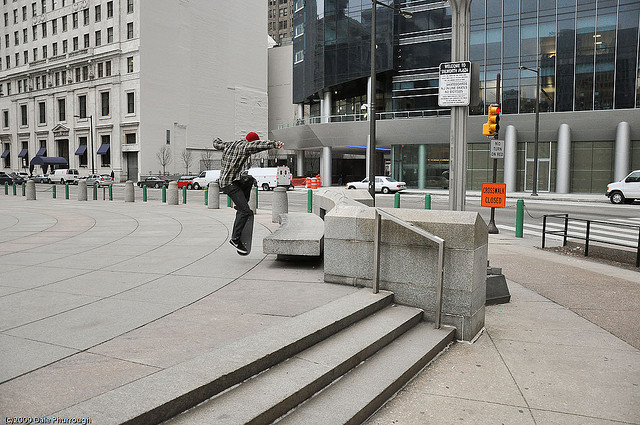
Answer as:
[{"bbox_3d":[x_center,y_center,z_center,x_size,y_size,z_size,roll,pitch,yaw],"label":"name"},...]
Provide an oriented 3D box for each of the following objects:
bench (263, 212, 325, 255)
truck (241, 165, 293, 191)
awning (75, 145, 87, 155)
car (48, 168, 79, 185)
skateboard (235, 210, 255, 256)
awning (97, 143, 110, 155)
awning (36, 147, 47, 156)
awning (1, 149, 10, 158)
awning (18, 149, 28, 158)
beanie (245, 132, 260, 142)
[{"bbox_3d":[-0.491,0.492,11.615,1.156,0.382,3.462,0,5,2],"label":"bench"},{"bbox_3d":[-4.907,-3.221,46.035,5.294,2.397,2.992,4,5,26],"label":"truck"},{"bbox_3d":[-32.556,-8.598,69.912,1.917,1.287,0.871,4,7,38],"label":"awning"},{"bbox_3d":[-32.190,-4.502,63.878,3.291,1.477,2.020,4,6,29],"label":"car"},{"bbox_3d":[-1.501,0.458,10.508,0.279,0.977,0.138,13,-2,14],"label":"skateboard"},{"bbox_3d":[-28.232,-8.350,66.802,1.168,1.486,2.060,-6,7,-44],"label":"awning"},{"bbox_3d":[-41.360,-8.996,75.987,1.545,1.458,0.800,-1,-4,17],"label":"awning"},{"bbox_3d":[-50.204,-9.443,81.801,1.659,1.299,0.740,3,7,35],"label":"awning"},{"bbox_3d":[-45.495,-9.221,78.730,1.326,1.218,0.314,8,-22,24],"label":"awning"},{"bbox_3d":[-1.378,-1.551,10.496,0.250,0.227,0.186,-24,42,-22],"label":"beanie"}]
